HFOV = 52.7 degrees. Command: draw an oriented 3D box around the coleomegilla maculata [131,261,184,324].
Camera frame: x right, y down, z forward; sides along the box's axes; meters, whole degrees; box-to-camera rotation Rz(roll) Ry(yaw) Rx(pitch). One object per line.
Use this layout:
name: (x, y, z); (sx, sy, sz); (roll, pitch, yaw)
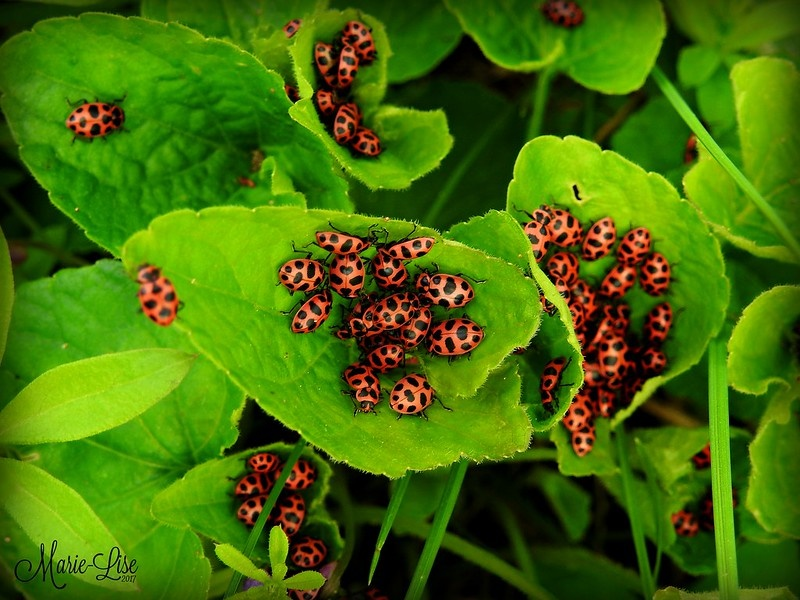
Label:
coleomegilla maculata: (-1.067, -0.027, 3.517); (0.219, 0.293, 0.078); (4, 23, 20)
